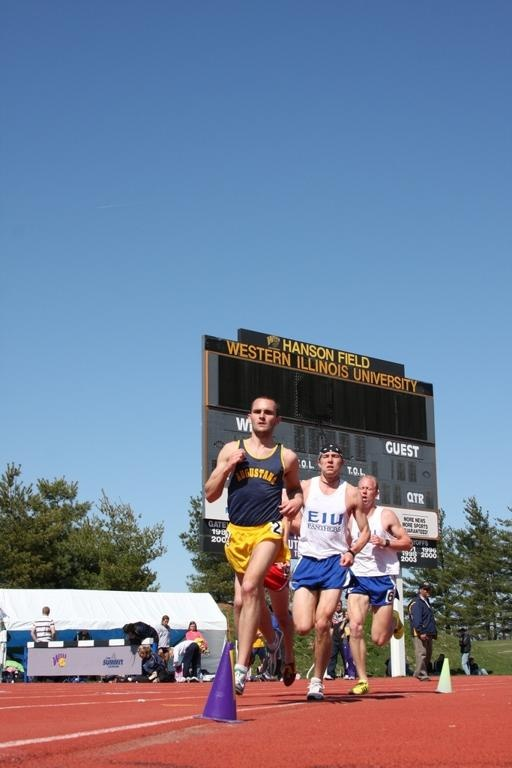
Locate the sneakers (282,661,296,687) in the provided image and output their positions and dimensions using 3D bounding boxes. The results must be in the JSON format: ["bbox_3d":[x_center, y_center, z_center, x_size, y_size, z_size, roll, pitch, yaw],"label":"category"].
[{"bbox_3d":[0.256,2.255,7.126,0.085,0.267,0.108,2,6,-1],"label":"sneakers"}]

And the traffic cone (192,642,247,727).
[{"bbox_3d":[-0.171,1.450,4.571,0.171,0.381,0.321,0,-11,-2],"label":"traffic cone"}]

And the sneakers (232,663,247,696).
[{"bbox_3d":[-0.081,1.756,5.541,0.090,0.118,0.264,3,-32,16],"label":"sneakers"}]

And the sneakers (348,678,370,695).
[{"bbox_3d":[0.944,2.791,8.578,0.111,0.118,0.270,-9,-22,26],"label":"sneakers"}]

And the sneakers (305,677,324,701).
[{"bbox_3d":[0.446,2.280,6.991,0.122,0.168,0.364,-1,-11,4],"label":"sneakers"}]

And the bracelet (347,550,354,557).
[{"bbox_3d":[0.748,1.321,7.313,0.044,0.033,0.044,6,6,17],"label":"bracelet"}]

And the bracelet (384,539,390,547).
[{"bbox_3d":[1.290,1.550,9.177,0.052,0.075,0.071,-4,-49,-6],"label":"bracelet"}]

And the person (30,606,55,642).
[{"bbox_3d":[-5.128,5.805,22.726,0.483,0.830,2.872,2,-11,-12],"label":"person"}]
